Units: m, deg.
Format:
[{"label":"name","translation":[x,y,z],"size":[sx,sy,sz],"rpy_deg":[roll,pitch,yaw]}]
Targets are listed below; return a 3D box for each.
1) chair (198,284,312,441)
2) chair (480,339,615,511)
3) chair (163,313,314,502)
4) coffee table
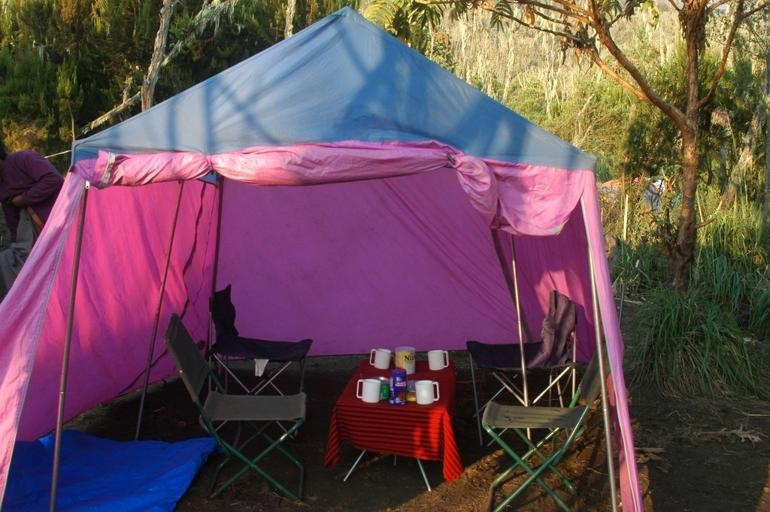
[{"label":"chair","translation":[-1.438,1.287,9.075],"size":[1.002,1.841,1.108],"rpy_deg":[1,6,4]},{"label":"chair","translation":[1.563,1.719,8.271],"size":[1.467,2.168,1.179],"rpy_deg":[2,3,8]},{"label":"chair","translation":[-1.654,1.418,8.574],"size":[1.660,2.524,1.327],"rpy_deg":[-1,9,-2]},{"label":"coffee table","translation":[0.104,1.700,7.953],"size":[0.907,0.596,1.201],"rpy_deg":[3,6,12]}]
